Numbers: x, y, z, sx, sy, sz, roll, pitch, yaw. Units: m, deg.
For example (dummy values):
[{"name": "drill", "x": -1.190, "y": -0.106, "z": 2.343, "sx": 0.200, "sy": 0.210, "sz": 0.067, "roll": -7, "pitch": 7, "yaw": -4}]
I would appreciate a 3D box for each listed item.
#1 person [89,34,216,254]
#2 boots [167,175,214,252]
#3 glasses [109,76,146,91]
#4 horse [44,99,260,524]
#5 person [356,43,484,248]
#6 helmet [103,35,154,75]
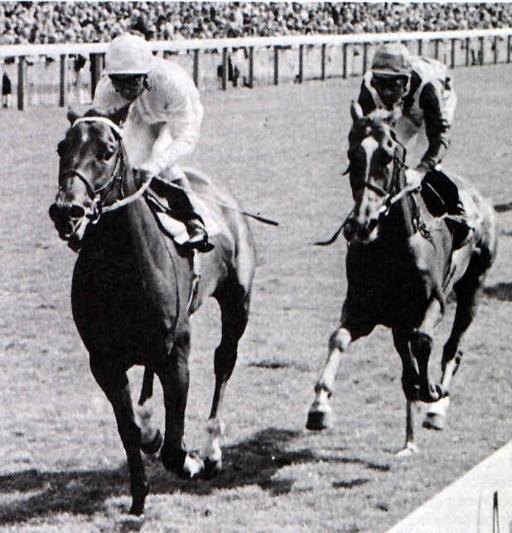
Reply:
[{"name": "person", "x": -0.429, "y": -0.507, "z": 6.324, "sx": 0.547, "sy": 0.951, "sz": 0.356, "roll": -26, "pitch": 30, "yaw": -35}, {"name": "boots", "x": -0.282, "y": -0.205, "z": 6.470, "sx": 0.064, "sy": 0.287, "sz": 0.137, "roll": -15, "pitch": 7, "yaw": 31}, {"name": "glasses", "x": -0.500, "y": -0.727, "z": 6.096, "sx": 0.153, "sy": 0.066, "sz": 0.079, "roll": -2, "pitch": 13, "yaw": -18}, {"name": "horse", "x": -0.387, "y": 0.234, "z": 6.705, "sx": 0.538, "sy": 1.885, "sz": 1.939, "roll": 4, "pitch": 9, "yaw": 19}, {"name": "person", "x": 0.788, "y": -0.758, "z": 7.463, "sx": 0.306, "sy": 0.650, "sz": 1.088, "roll": 17, "pitch": 1, "yaw": 21}, {"name": "helmet", "x": -0.509, "y": -0.842, "z": 6.128, "sx": 0.205, "sy": 0.163, "sz": 0.239, "roll": -2, "pitch": 6, "yaw": 4}]
